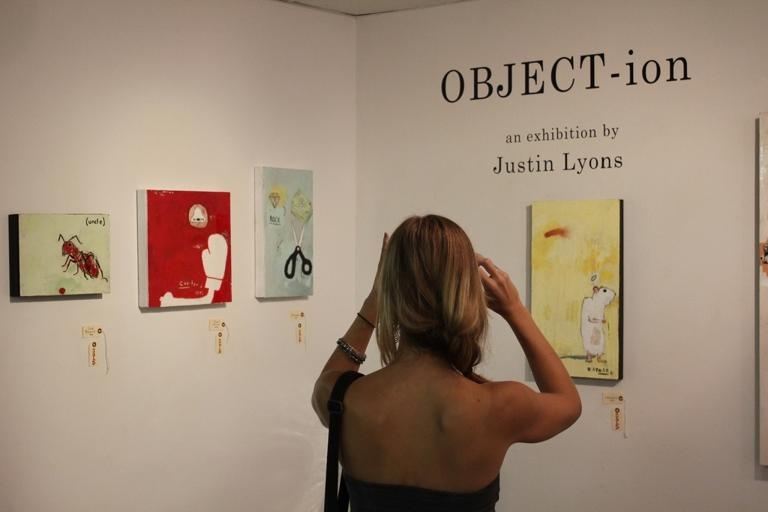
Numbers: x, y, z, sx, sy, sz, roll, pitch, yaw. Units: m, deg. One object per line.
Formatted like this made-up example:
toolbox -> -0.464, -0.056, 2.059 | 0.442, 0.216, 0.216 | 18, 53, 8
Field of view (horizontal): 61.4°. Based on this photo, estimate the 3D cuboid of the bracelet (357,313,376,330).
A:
bracelet -> -0.067, 0.245, 2.397 | 0.069, 0.018, 0.012 | 41, 46, 10

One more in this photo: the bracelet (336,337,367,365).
bracelet -> -0.126, 0.352, 2.399 | 0.097, 0.035, 0.091 | 38, -10, 45
